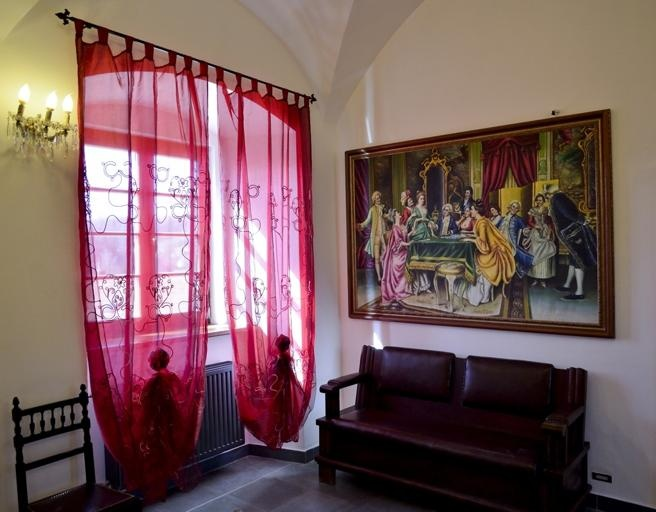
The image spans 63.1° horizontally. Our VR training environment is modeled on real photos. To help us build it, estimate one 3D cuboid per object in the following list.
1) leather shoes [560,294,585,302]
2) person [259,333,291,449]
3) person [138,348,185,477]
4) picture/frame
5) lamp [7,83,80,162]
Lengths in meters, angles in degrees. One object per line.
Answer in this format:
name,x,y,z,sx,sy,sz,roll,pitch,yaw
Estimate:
leather shoes,1.987,0.332,4.324,0.123,0.054,0.048,2,5,29
person,-0.424,1.228,4.863,0.113,0.999,0.324,1,3,41
person,-1.279,1.190,4.154,0.288,1.055,0.285,-8,20,-38
picture/frame,1.403,-0.297,4.673,1.949,1.563,0.047,0,2,38
lamp,-1.993,-0.935,3.707,0.216,0.598,0.503,4,-1,38
